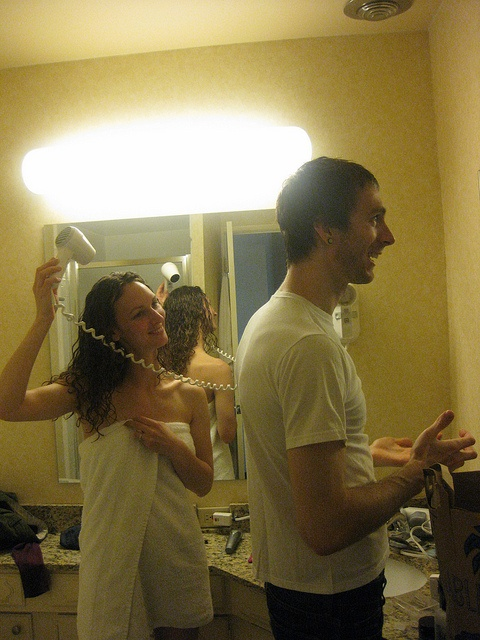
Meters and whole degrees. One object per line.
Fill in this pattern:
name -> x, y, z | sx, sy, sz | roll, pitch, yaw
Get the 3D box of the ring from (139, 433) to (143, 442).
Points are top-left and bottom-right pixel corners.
ring -> -0.242, 0.285, 1.380 | 0.006, 0.014, 0.017 | 3, 15, -1

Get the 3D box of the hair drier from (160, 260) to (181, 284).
hair drier -> -0.243, -0.165, 1.966 | 0.068, 0.066, 0.074 | -8, 33, -30

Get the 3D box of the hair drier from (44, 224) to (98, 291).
hair drier -> -0.459, -0.178, 1.548 | 0.083, 0.156, 0.110 | 2, 6, -6
